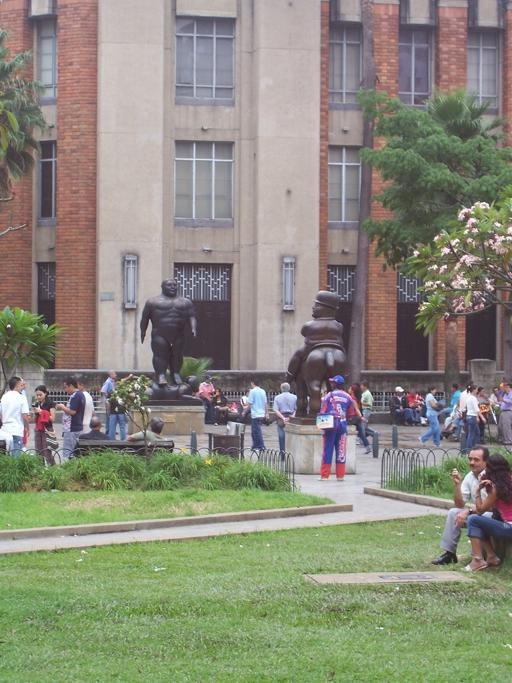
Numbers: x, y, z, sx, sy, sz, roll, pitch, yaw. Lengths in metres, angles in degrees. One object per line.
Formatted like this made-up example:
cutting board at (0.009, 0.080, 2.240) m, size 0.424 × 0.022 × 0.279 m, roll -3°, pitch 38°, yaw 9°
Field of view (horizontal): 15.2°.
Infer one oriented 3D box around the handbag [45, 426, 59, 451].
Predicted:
handbag at (-3.499, 1.835, 32.600) m, size 0.248 × 0.576 × 0.379 m, roll -4°, pitch 6°, yaw -9°

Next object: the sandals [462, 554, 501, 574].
sandals at (3.101, 3.197, 26.258) m, size 0.467 × 0.166 × 0.215 m, roll -19°, pitch -16°, yaw 18°

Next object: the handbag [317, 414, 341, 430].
handbag at (1.218, 1.555, 32.955) m, size 0.337 × 0.245 × 0.275 m, roll 0°, pitch -11°, yaw 23°

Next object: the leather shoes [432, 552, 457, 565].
leather shoes at (2.624, 3.159, 26.643) m, size 0.351 × 0.193 × 0.226 m, roll -1°, pitch -4°, yaw 7°

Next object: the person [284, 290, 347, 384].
person at (1.065, 0.018, 34.699) m, size 0.973 × 1.652 × 0.848 m, roll 0°, pitch -4°, yaw 0°

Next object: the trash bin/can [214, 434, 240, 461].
trash bin/can at (-0.519, 1.966, 33.300) m, size 0.430 × 0.516 × 0.349 m, roll 2°, pitch -7°, yaw -11°

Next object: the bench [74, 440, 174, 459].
bench at (-2.203, 1.915, 31.703) m, size 1.662 × 0.301 × 0.973 m, roll 0°, pitch -5°, yaw -8°

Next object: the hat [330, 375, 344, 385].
hat at (1.429, 0.826, 33.566) m, size 0.114 × 0.120 × 0.187 m, roll 2°, pitch 0°, yaw -27°
